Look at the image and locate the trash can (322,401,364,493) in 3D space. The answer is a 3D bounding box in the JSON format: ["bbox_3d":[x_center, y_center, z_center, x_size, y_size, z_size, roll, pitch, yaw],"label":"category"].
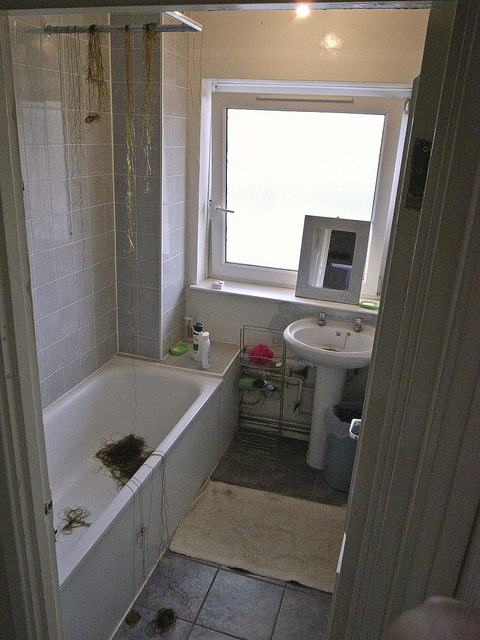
[{"bbox_3d":[0.588,0.736,2.897,0.222,0.461,0.358,10,19,16],"label":"trash can"}]

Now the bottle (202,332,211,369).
[{"bbox_3d":[-0.205,0.194,2.890,0.057,0.316,0.071,-2,23,-6],"label":"bottle"}]
